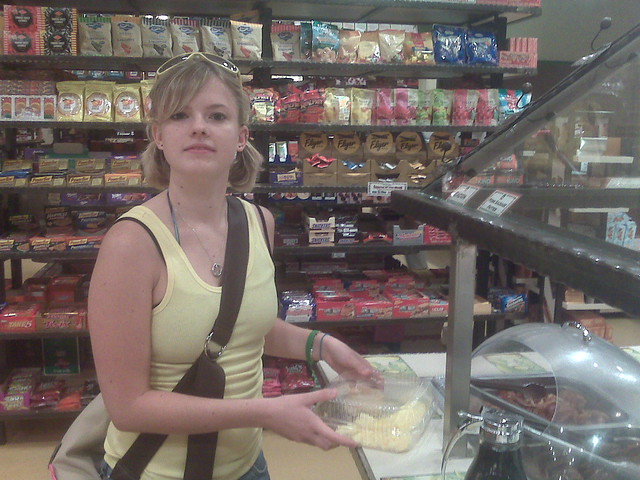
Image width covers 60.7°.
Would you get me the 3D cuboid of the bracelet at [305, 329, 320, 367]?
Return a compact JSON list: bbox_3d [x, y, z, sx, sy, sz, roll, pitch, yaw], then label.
[{"bbox_3d":[-0.028,0.373,1.840,0.030,0.094,0.066,1,-4,27],"label":"bracelet"}]
